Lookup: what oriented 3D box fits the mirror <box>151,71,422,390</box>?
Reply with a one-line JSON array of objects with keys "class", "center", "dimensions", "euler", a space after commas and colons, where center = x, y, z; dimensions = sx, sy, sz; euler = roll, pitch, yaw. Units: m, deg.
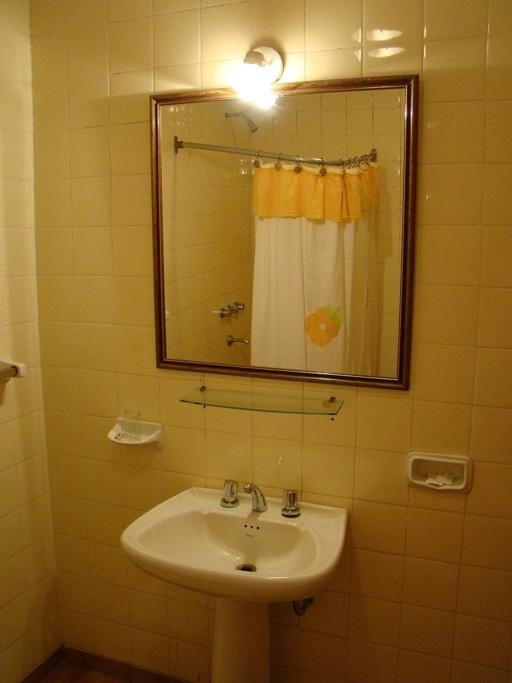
[{"class": "mirror", "center": [0.106, -0.316, 1.512], "dimensions": [0.831, 0.906, 0.039], "euler": [3, 14, 17]}]

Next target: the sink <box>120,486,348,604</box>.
[{"class": "sink", "center": [-0.048, 0.555, 1.496], "dimensions": [0.552, 0.156, 0.429], "euler": [4, 9, 20]}]

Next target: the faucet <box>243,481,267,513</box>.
[{"class": "faucet", "center": [0.003, 0.443, 1.599], "dimensions": [0.076, 0.086, 0.058], "euler": [6, 6, 24]}]
